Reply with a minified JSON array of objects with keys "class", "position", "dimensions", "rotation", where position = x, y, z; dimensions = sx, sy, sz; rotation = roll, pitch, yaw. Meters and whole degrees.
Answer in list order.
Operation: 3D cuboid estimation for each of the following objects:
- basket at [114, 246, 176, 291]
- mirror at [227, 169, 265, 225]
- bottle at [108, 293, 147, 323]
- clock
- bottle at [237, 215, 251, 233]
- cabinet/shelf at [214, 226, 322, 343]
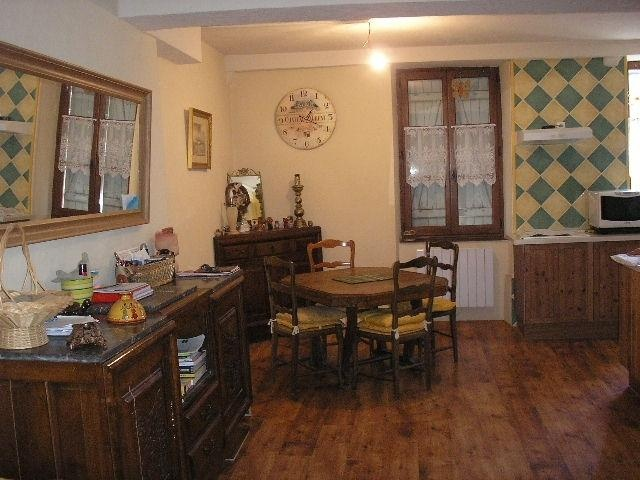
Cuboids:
[{"class":"basket","position":[-1.194,0.180,3.287],"dimensions":[0.288,0.168,0.231],"rotation":[1,3,21]},{"class":"mirror","position":[-0.868,-0.497,5.715],"dimensions":[0.424,0.875,0.016],"rotation":[-2,-32,-8]},{"class":"bottle","position":[-1.011,0.336,2.594],"dimensions":[0.135,0.107,0.140],"rotation":[0,0,0]},{"class":"clock","position":[-0.155,-1.493,6.005],"dimensions":[0.596,0.714,0.068],"rotation":[-3,3,2]},{"class":"bottle","position":[-0.851,-0.192,5.551],"dimensions":[0.130,0.265,0.135],"rotation":[-1,0,0]},{"class":"cabinet/shelf","position":[-0.520,0.416,4.745],"dimensions":[1.076,1.172,0.386],"rotation":[-5,3,-35]}]
